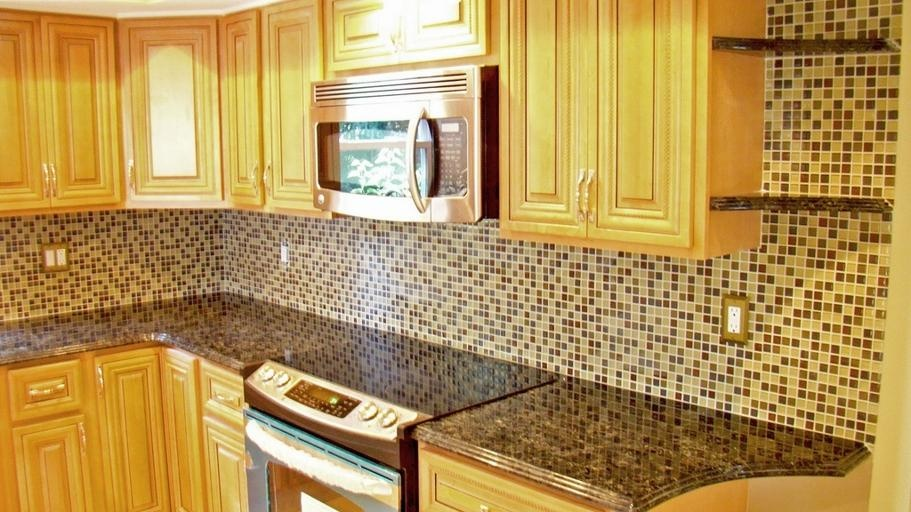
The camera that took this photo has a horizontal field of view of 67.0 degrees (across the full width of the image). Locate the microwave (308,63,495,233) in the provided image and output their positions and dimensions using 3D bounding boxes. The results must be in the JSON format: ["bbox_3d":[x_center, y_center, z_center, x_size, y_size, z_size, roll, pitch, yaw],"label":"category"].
[{"bbox_3d":[-0.258,-0.564,3.685,1.113,0.694,0.590,7,11,36],"label":"microwave"}]
